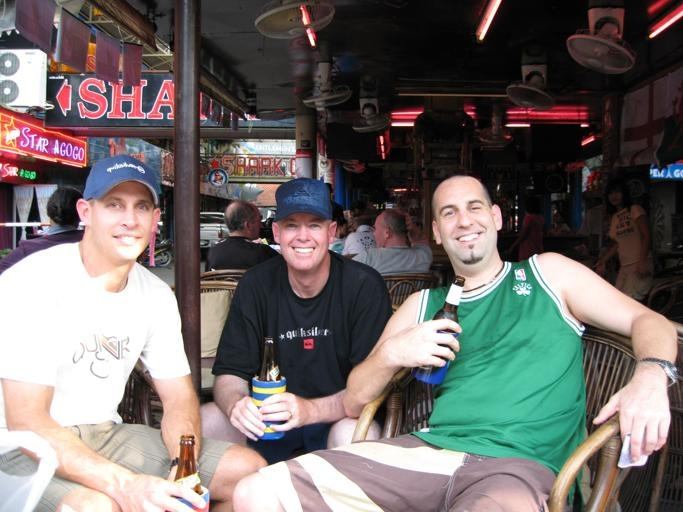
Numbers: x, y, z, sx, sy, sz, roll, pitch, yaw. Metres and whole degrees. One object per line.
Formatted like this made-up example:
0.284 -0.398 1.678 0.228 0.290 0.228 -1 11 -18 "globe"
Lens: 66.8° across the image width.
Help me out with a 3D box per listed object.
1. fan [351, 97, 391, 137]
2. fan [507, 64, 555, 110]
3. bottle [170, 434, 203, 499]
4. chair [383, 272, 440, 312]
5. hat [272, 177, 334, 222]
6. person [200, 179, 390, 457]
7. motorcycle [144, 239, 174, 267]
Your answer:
0.653 -2.620 9.412 0.894 0.601 0.369 -13 39 -30 "fan"
2.658 -2.421 7.273 0.632 0.683 0.609 2 -29 18 "fan"
-0.568 0.738 1.914 0.087 0.183 0.273 -1 -1 -19 "bottle"
0.562 0.256 4.393 0.379 0.482 0.364 0 7 -8 "chair"
-0.212 -0.317 2.805 0.319 0.236 0.439 -1 5 0 "hat"
-0.263 0.376 2.690 1.074 1.455 1.027 3 4 17 "person"
-6.524 -0.058 18.027 1.317 0.843 0.763 2 3 7 "motorcycle"
